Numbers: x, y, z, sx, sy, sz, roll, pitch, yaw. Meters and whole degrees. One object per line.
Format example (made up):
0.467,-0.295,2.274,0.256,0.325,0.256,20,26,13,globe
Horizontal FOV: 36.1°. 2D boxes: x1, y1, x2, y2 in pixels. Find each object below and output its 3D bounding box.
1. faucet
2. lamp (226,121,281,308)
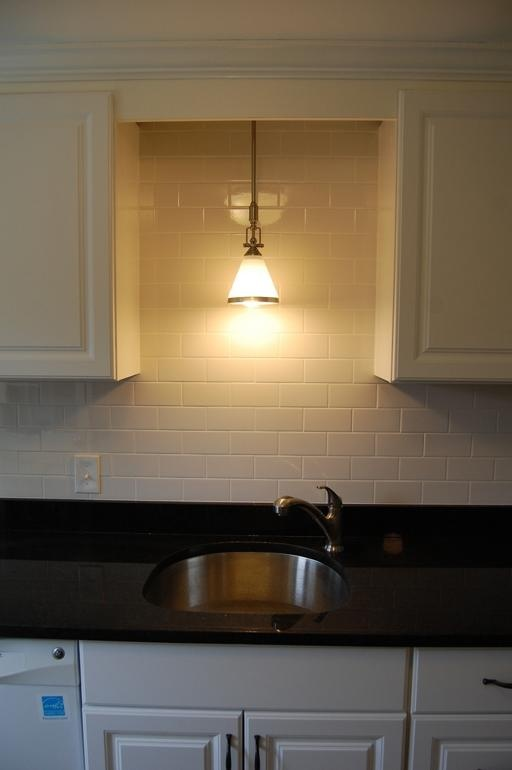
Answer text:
0.164,0.362,2.144,0.223,0.153,0.058,2,-5,34,faucet
-0.005,-0.467,2.139,0.141,0.531,0.227,1,-6,1,lamp
